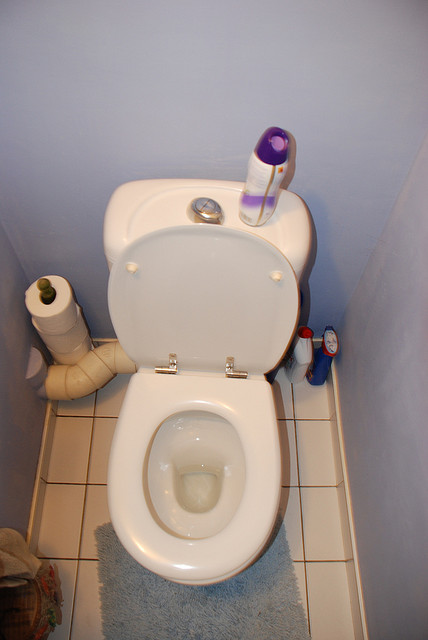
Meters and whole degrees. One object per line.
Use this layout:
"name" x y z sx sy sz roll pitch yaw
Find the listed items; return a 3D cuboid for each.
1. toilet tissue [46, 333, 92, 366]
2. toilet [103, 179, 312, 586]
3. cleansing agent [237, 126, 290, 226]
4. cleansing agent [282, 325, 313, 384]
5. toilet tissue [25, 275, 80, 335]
"toilet tissue" -0.433 0.095 1.550 0.130 0.095 0.115 -15 51 -17
"toilet" -0.038 0.214 1.157 0.406 0.762 0.775 4 55 1
"cleansing agent" 0.089 -0.257 0.917 0.074 0.233 0.082 20 67 2
"cleansing agent" 0.266 0.105 1.528 0.079 0.059 0.226 -18 41 35
"toilet tissue" -0.423 -0.050 1.331 0.112 0.169 0.123 40 62 18
